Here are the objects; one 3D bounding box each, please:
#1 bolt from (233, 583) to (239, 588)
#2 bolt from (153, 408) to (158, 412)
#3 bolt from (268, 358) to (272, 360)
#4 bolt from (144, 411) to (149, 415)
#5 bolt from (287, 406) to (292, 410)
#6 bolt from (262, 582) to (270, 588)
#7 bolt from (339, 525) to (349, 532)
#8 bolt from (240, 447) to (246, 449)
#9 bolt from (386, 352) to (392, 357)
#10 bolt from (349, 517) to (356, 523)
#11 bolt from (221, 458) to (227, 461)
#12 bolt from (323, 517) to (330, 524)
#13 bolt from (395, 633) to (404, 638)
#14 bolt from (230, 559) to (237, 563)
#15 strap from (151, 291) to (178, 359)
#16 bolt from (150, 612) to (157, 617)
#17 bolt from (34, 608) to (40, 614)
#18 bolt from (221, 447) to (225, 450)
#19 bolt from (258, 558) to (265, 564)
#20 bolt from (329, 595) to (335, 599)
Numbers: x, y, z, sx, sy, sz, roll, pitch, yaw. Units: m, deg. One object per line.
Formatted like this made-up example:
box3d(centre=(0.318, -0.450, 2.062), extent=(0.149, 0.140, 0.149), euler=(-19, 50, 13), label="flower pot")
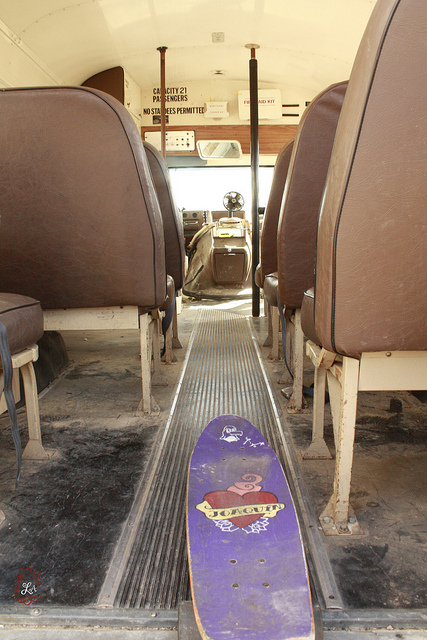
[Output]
box3d(centre=(0.035, 0.427, 0.735), extent=(0.008, 0.001, 0.010), euler=(-1, 8, -5), label="bolt")
box3d(centre=(-0.236, 0.361, 1.836), extent=(0.018, 0.010, 0.021), euler=(-2, 8, -8), label="bolt")
box3d(centre=(0.325, 0.221, 2.610), extent=(0.021, 0.006, 0.010), euler=(-1, 8, -4), label="bolt")
box3d(centre=(-0.268, 0.368, 1.816), extent=(0.018, 0.010, 0.015), euler=(-1, 8, -5), label="bolt")
box3d(centre=(0.307, 0.349, 1.827), extent=(0.019, 0.005, 0.025), euler=(0, 8, 3), label="bolt")
box3d(centre=(0.085, 0.425, 0.734), extent=(0.011, 0.001, 0.011), euler=(0, 8, 6), label="bolt")
box3d(centre=(0.296, 0.470, 1.031), extent=(0.018, 0.003, 0.024), euler=(1, 8, 11), label="bolt")
box3d(centre=(0.079, 0.349, 1.246), extent=(0.012, 0.001, 0.010), euler=(0, 8, 2), label="bolt")
box3d(centre=(0.378, 0.073, 0.981), extent=(0.010, 0.010, 0.002), euler=(-2, 0, 3), label="bolt")
box3d(centre=(0.324, 0.463, 1.058), extent=(0.015, 0.005, 0.017), euler=(1, 8, 13), label="bolt")
box3d(centre=(0.028, 0.359, 1.177), extent=(0.013, 0.001, 0.014), euler=(-1, 8, -3), label="bolt")
box3d(centre=(0.264, 0.465, 1.063), extent=(0.015, 0.004, 0.018), euler=(1, 8, 9), label="bolt")
box3d(centre=(0.299, 0.506, 0.732), extent=(0.012, 0.001, 0.007), euler=(0, 8, 3), label="bolt")
box3d(centre=(0.035, 0.420, 0.797), extent=(0.012, 0.001, 0.009), euler=(-1, 8, -3), label="bolt")
box3d(centre=(-0.256, -0.009, 2.432), extent=(0.078, 0.524, 0.076), euler=(9, 25, 5), label="strap")
box3d(centre=(-0.104, 0.507, 0.786), extent=(0.012, 0.001, 0.012), euler=(-1, 8, -5), label="bolt")
box3d(centre=(-0.312, 0.509, 0.800), extent=(0.009, 0.001, 0.015), euler=(-3, 8, -18), label="bolt")
box3d(centre=(0.025, 0.349, 1.243), extent=(0.010, 0.001, 0.013), euler=(-2, 8, -7), label="bolt")
box3d(centre=(0.084, 0.418, 0.793), extent=(0.011, 0.001, 0.015), euler=(1, 8, 11), label="bolt")
box3d(centre=(0.213, 0.496, 0.818), extent=(0.009, 0.001, 0.009), euler=(0, 8, 5), label="bolt")
